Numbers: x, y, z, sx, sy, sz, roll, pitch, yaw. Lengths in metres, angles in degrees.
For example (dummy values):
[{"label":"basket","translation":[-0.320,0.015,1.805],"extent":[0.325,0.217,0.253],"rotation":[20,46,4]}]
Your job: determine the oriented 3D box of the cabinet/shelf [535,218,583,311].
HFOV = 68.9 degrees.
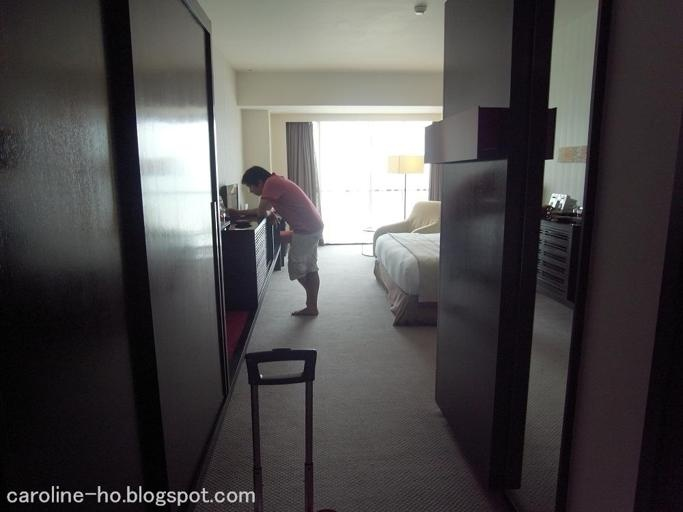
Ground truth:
[{"label":"cabinet/shelf","translation":[0.769,0.023,1.743],"extent":[0.093,0.316,0.292],"rotation":[0,8,0]}]
